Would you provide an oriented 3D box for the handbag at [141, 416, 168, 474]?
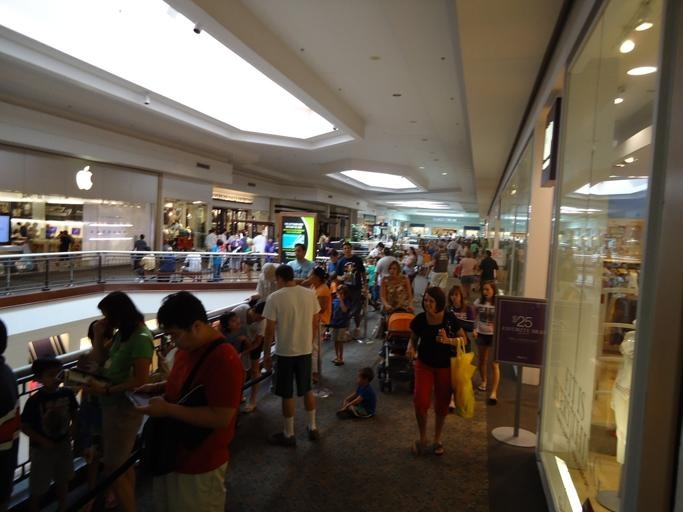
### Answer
[{"bbox_3d":[-1.139,1.145,2.644,0.218,0.351,0.096,5,5,29],"label":"handbag"}]

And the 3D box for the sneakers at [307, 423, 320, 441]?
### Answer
[{"bbox_3d":[-0.314,1.985,4.930,0.158,0.160,0.428,1,-1,-2],"label":"sneakers"}]

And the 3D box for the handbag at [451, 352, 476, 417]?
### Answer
[{"bbox_3d":[1.260,1.315,4.452,0.291,0.689,0.205,-1,5,-31],"label":"handbag"}]

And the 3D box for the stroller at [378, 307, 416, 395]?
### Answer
[{"bbox_3d":[0.821,1.471,6.592,0.686,1.165,1.072,1,2,1],"label":"stroller"}]

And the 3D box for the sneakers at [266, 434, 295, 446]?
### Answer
[{"bbox_3d":[-0.647,2.002,4.769,0.300,0.127,0.115,1,-7,35],"label":"sneakers"}]

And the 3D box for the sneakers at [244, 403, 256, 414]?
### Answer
[{"bbox_3d":[-1.137,1.905,5.534,0.143,0.079,0.128,1,5,-15],"label":"sneakers"}]

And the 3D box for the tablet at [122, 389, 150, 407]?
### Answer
[{"bbox_3d":[-1.242,0.880,2.705,0.158,0.043,0.175,25,-8,14],"label":"tablet"}]
